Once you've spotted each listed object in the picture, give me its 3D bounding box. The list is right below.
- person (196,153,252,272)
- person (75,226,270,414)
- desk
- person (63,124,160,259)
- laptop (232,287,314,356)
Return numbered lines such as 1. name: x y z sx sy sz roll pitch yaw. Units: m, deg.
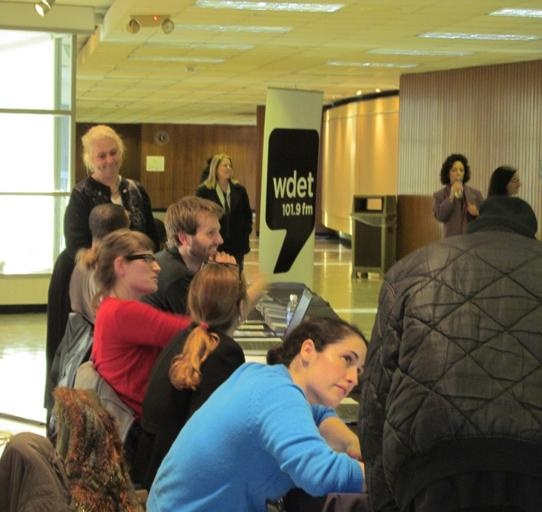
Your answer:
1. person: -0.581 -0.254 7.353 0.725 2.008 0.626 -5 23 -14
2. person: -0.510 0.120 2.742 0.694 1.357 0.496 -10 15 -21
3. desk: 0.219 0.508 3.218 0.236 0.430 1.010 28 15 -23
4. person: -1.021 -0.407 3.708 0.575 0.872 0.578 -5 1 -36
5. laptop: 0.032 0.326 3.131 0.257 0.098 0.408 3 35 28
